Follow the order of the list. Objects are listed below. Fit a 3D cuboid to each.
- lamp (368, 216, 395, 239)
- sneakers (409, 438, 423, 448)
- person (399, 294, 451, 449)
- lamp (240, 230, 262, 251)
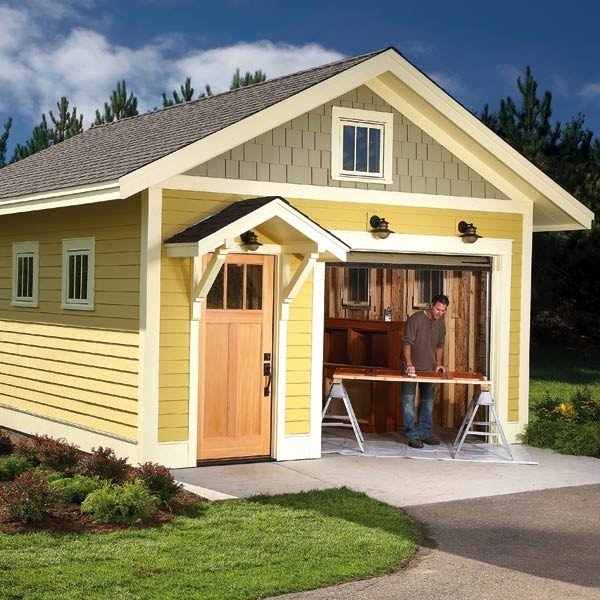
[{"bbox_3d":[1.114,-0.952,10.569,0.255,0.353,0.260,1,-3,-39],"label":"lamp"},{"bbox_3d":[1.622,2.008,11.060,0.203,0.125,0.253,0,-5,9],"label":"sneakers"},{"bbox_3d":[1.792,1.011,11.299,0.614,2.154,1.350,0,-4,8],"label":"person"},{"bbox_3d":[-0.577,-0.711,9.529,0.193,0.302,0.215,4,-10,-31],"label":"lamp"}]
